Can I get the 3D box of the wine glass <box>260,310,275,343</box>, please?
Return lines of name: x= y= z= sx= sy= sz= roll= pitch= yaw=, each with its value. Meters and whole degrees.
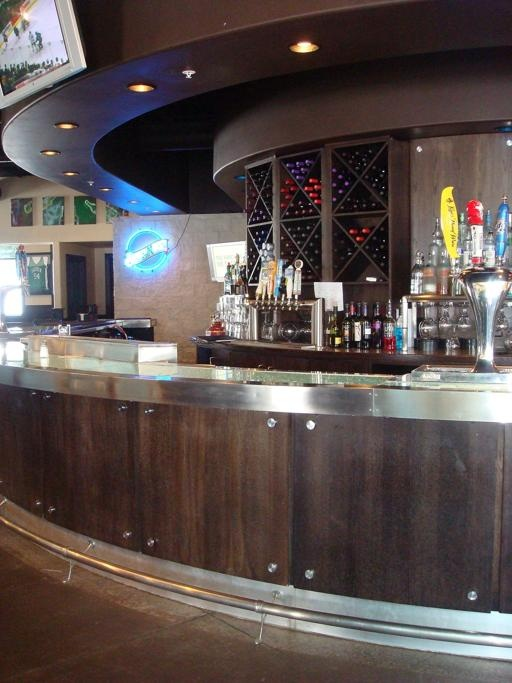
wine glass: x=0.097 y=-0.140 z=5.103 sx=0.132 sy=0.224 sz=0.310 roll=-6 pitch=9 yaw=1

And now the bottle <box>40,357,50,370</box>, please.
bottle: x=-0.963 y=0.100 z=2.743 sx=0.040 sy=0.060 sz=0.039 roll=1 pitch=0 yaw=0
